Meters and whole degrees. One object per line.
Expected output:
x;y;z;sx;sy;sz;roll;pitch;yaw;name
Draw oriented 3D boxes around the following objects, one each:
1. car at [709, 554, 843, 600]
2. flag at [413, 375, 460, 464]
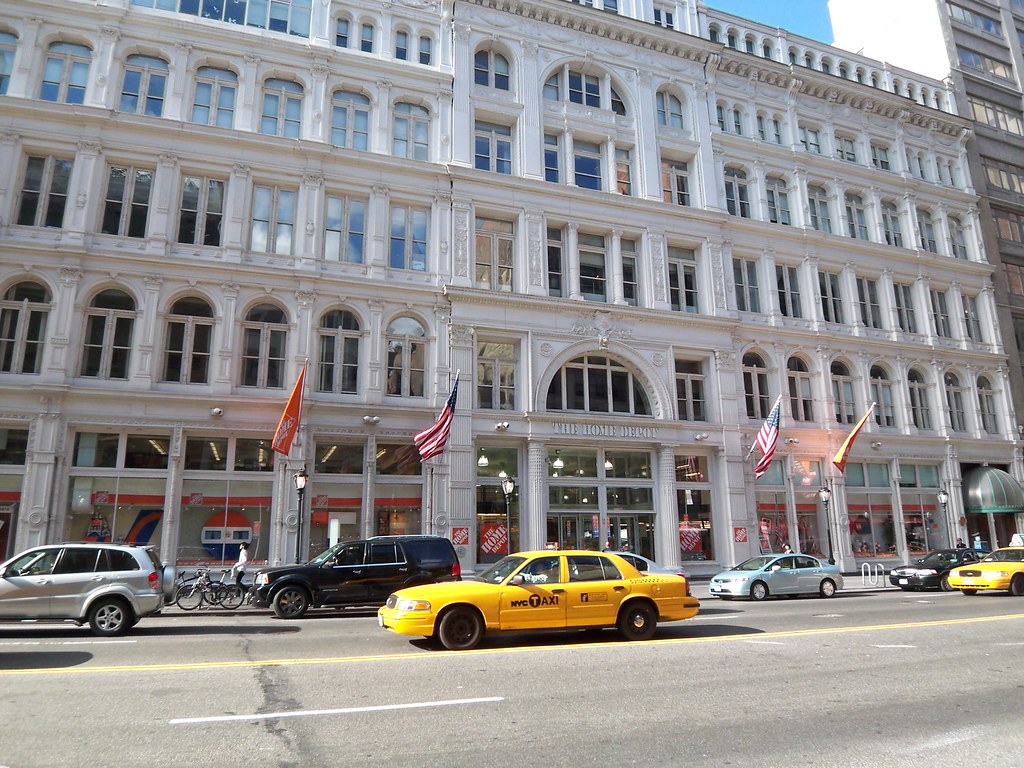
9.481;6.881;27.808;4.697;1.557;0.918;3;-15;-21;car
-2.851;1.220;31.003;1.809;3.618;2.702;0;-14;-6;flag
